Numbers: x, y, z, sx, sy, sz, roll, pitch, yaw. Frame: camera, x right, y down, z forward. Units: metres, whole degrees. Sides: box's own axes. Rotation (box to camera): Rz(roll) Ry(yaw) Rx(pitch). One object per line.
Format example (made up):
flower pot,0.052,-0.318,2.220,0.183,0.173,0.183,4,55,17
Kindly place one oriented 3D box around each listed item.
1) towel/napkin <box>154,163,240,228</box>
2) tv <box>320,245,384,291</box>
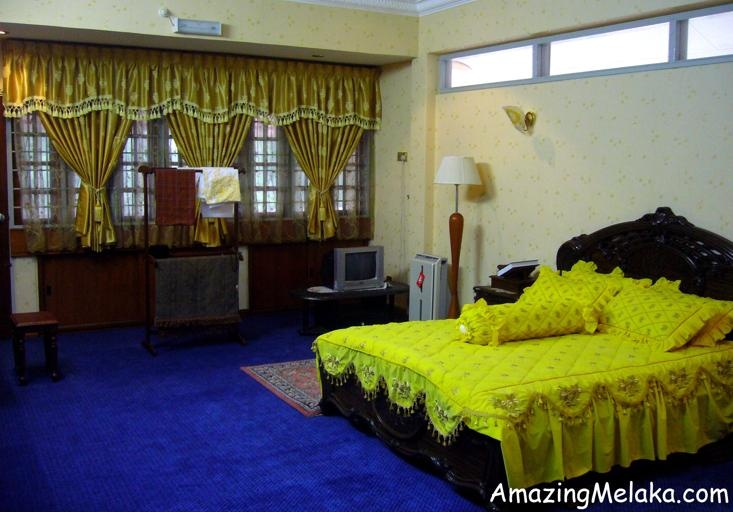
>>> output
towel/napkin,-1.833,-0.665,5.560,0.736,0.537,0.128,-2,3,-22
tv,-0.128,0.139,6.126,0.675,0.533,0.496,-3,6,-30
